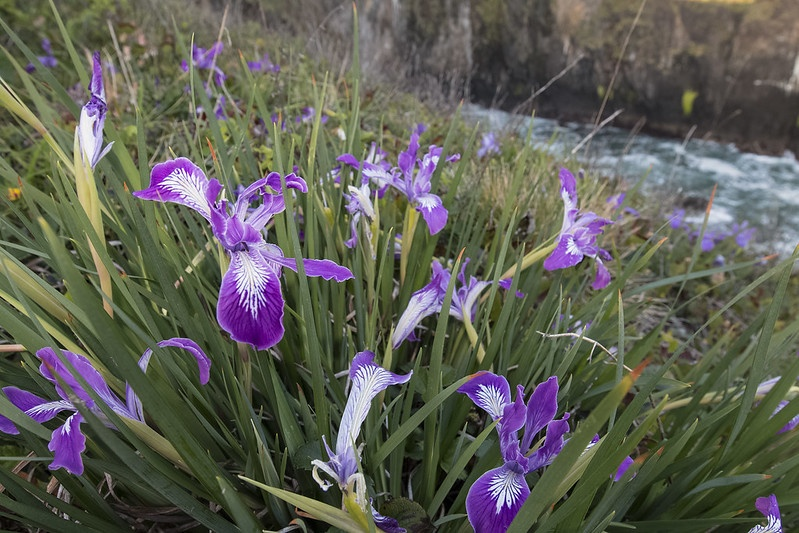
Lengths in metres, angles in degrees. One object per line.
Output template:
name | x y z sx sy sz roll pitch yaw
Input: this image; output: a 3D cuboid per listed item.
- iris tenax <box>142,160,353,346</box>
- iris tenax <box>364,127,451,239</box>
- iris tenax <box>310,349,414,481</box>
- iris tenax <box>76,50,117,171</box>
iris tenax | -0.552 -0.040 2.505 0.769 0.550 0.456 26 31 20
iris tenax | 0.047 -0.388 2.848 0.410 0.326 0.300 21 30 12
iris tenax | -0.147 0.561 2.421 0.199 0.398 0.344 24 30 22
iris tenax | -1.162 -0.576 2.552 0.122 0.468 0.360 -2 31 -24
